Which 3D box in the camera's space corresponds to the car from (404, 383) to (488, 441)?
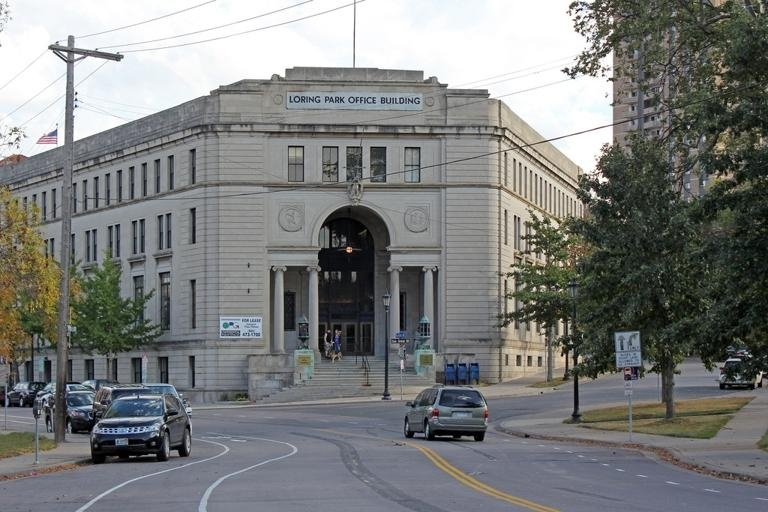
[{"bbox_3d":[2.731,7.095,62.603,2.045,2.594,3.585,9,-15,-41],"label":"car"}]
